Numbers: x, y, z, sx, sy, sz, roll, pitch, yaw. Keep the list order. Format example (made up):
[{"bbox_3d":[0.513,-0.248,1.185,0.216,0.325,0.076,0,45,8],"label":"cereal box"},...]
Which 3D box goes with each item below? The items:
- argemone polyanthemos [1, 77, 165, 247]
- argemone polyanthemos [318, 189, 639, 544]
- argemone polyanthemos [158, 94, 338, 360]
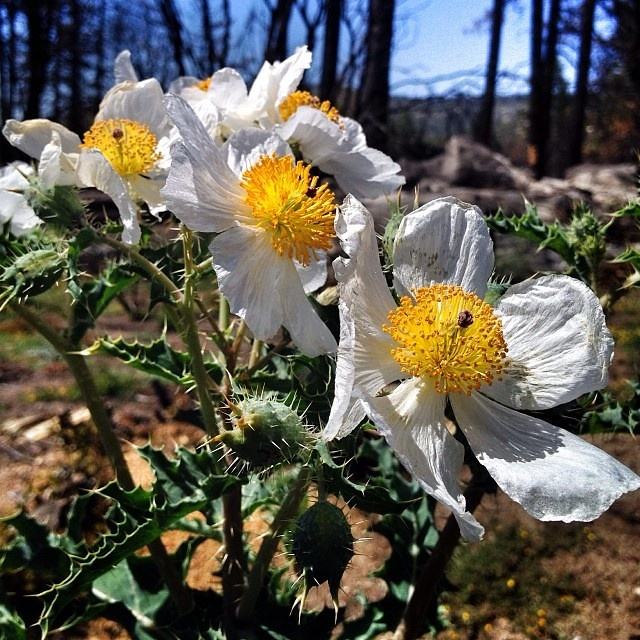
[{"bbox_3d":[-0.499,-0.380,1.500,0.373,0.376,0.451,-3,14,-28],"label":"argemone polyanthemos"},{"bbox_3d":[0.307,0.065,1.310,0.595,0.595,0.449,4,12,-1],"label":"argemone polyanthemos"},{"bbox_3d":[-0.137,-0.185,1.316,0.354,0.488,0.184,2,13,-9],"label":"argemone polyanthemos"}]
